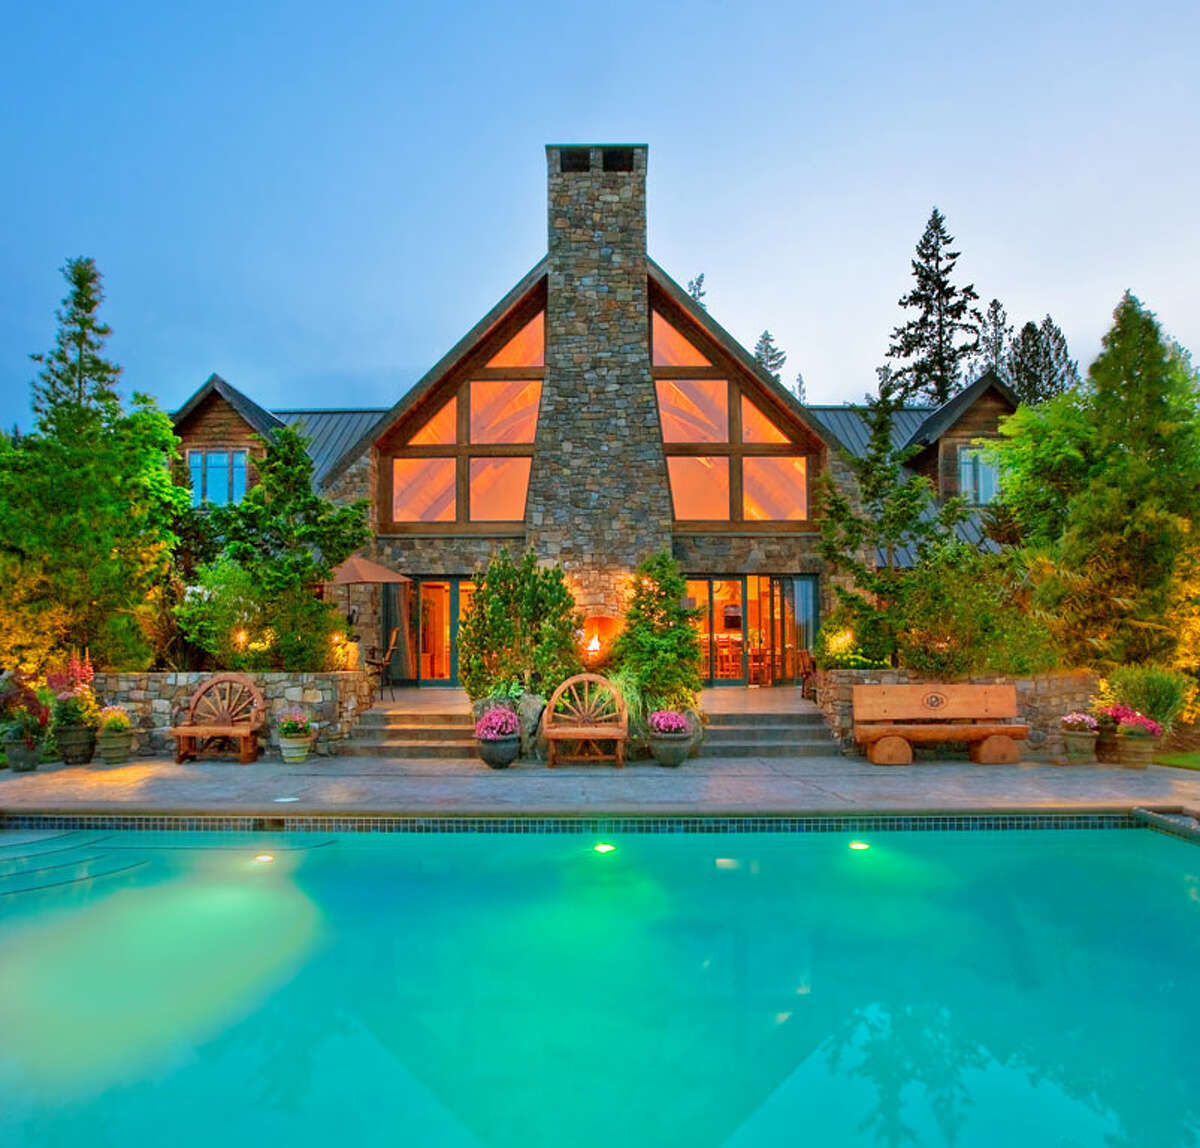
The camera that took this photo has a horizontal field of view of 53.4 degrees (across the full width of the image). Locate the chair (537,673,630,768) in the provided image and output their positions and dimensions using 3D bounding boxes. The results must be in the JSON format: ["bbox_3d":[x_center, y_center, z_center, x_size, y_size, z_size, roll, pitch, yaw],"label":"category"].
[{"bbox_3d":[-0.224,2.083,17.312,1.154,1.374,0.658,0,8,-2],"label":"chair"}]

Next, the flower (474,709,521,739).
[{"bbox_3d":[-1.477,2.141,17.191,0.409,0.427,0.462,1,-3,2],"label":"flower"}]

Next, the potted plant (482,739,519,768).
[{"bbox_3d":[-1.451,2.598,17.116,0.394,0.322,0.432,0,-9,-5],"label":"potted plant"}]

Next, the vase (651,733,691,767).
[{"bbox_3d":[0.996,2.485,17.109,0.419,0.340,0.463,0,-10,-1],"label":"vase"}]

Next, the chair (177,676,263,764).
[{"bbox_3d":[-5.569,2.111,17.400,1.115,1.316,0.829,1,-6,2],"label":"chair"}]

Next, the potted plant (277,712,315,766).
[{"bbox_3d":[-4.502,2.412,17.640,0.518,0.794,0.582,0,-9,-8],"label":"potted plant"}]

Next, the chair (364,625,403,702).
[{"bbox_3d":[-4.430,1.855,23.721,0.995,1.808,1.038,1,-1,-6],"label":"chair"}]
